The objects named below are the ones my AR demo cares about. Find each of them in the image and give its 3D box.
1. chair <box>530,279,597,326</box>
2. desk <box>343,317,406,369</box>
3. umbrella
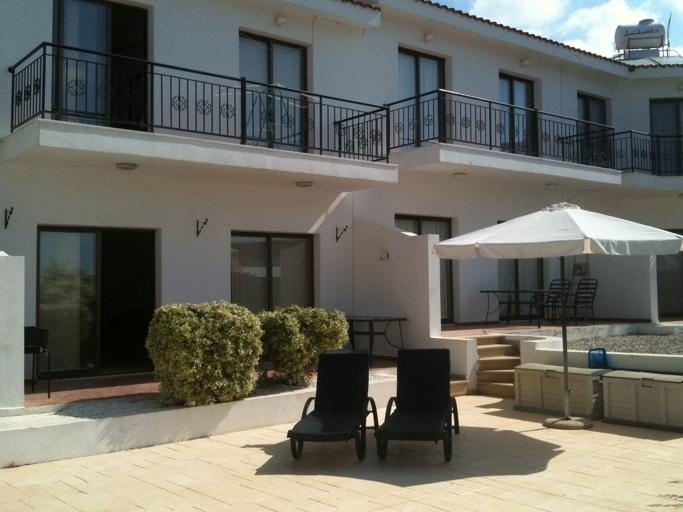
[{"bbox_3d":[5.481,1.129,17.032,0.418,0.780,1.039,9,-12,-43],"label":"chair"},{"bbox_3d":[0.664,1.506,14.707,0.824,0.802,1.494,2,-4,-33],"label":"desk"},{"bbox_3d":[3.625,0.770,11.381,3.420,3.298,3.570,-3,-2,30],"label":"umbrella"}]
